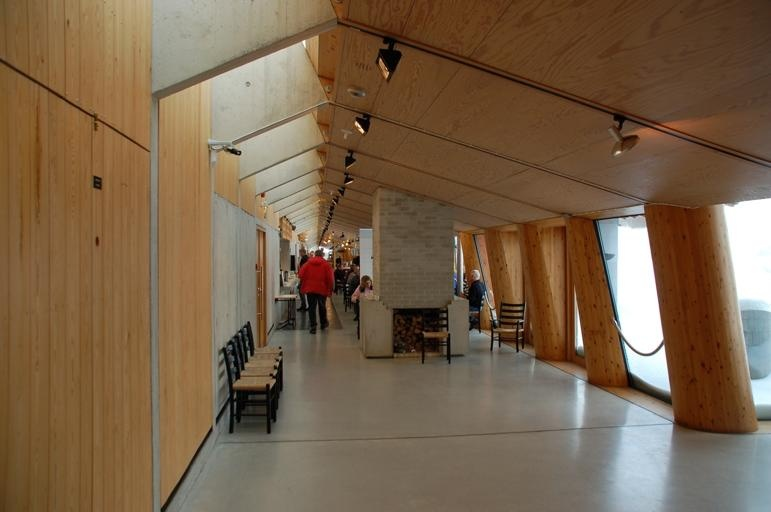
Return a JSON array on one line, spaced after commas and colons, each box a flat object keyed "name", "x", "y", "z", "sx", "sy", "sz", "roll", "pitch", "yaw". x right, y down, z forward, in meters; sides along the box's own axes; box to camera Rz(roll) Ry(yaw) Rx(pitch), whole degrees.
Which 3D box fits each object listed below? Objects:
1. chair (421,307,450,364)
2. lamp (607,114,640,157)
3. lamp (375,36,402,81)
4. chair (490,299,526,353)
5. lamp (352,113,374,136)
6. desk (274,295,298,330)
[{"name": "chair", "x": 0.841, "y": 1.324, "z": 9.378, "sx": 0.537, "sy": 0.832, "sz": 0.904, "roll": 0, "pitch": 5, "yaw": 3}, {"name": "lamp", "x": 2.058, "y": -1.020, "z": 4.876, "sx": 0.234, "sy": 0.312, "sz": 0.459, "roll": 2, "pitch": 5, "yaw": 25}, {"name": "lamp", "x": 0.027, "y": -1.621, "z": 4.742, "sx": 0.212, "sy": 0.333, "sz": 0.218, "roll": 0, "pitch": 5, "yaw": -1}, {"name": "chair", "x": 2.199, "y": 1.286, "z": 10.184, "sx": 0.642, "sy": 0.817, "sz": 0.651, "roll": -1, "pitch": 1, "yaw": -27}, {"name": "lamp", "x": -0.252, "y": -1.481, "z": 6.432, "sx": 0.152, "sy": 0.180, "sz": 0.252, "roll": -39, "pitch": 24, "yaw": 4}, {"name": "desk", "x": -2.453, "y": 1.404, "z": 13.758, "sx": 0.518, "sy": 0.689, "sz": 1.790, "roll": 0, "pitch": -4, "yaw": -17}]
